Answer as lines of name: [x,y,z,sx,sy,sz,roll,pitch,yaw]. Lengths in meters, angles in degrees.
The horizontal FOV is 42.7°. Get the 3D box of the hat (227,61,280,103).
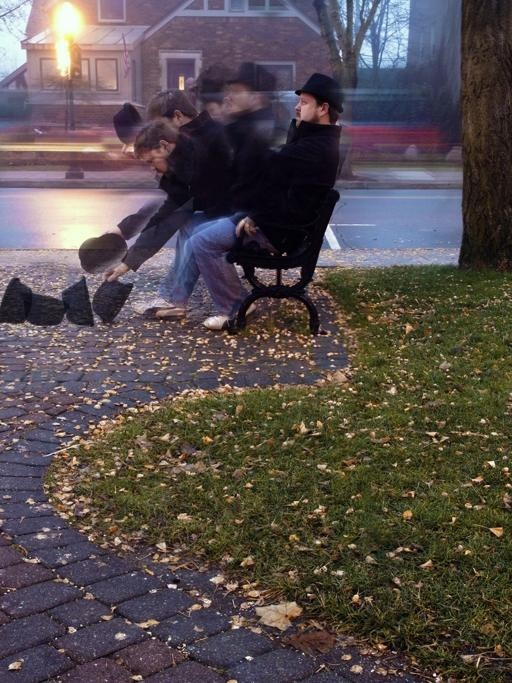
hat: [-0.006,-1.545,3.866,0.285,0.140,0.365,0,11,-10]

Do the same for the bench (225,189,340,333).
bench: [0.196,-0.613,5.466,1.142,0.919,1.004,2,5,27]

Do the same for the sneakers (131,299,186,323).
sneakers: [-0.901,-0.290,5.814,0.572,0.193,0.200,9,16,31]

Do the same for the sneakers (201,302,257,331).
sneakers: [-0.211,-0.210,5.376,0.525,0.182,0.167,-5,19,-5]

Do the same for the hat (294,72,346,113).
hat: [0.458,-1.719,4.541,0.243,0.083,0.189,21,7,-32]
